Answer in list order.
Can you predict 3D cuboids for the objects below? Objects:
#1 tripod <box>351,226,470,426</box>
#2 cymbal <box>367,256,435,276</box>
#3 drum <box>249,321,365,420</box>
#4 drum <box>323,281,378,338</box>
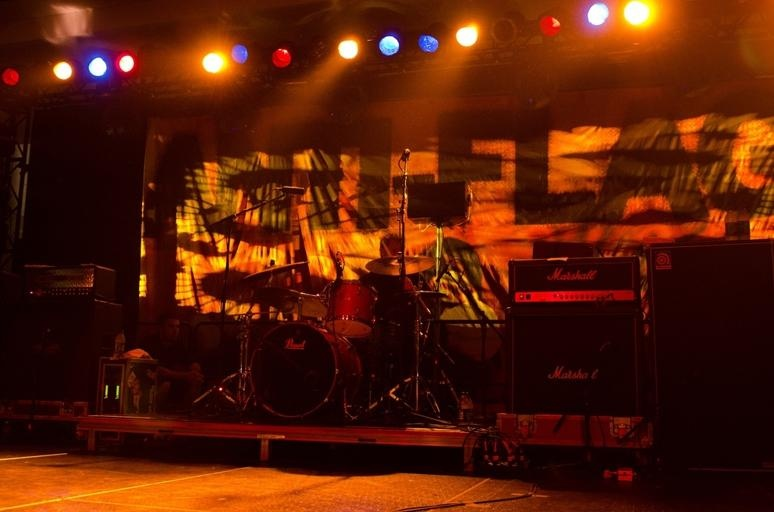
[{"bbox_3d":[0.201,0.887,8.496,1.656,1.943,1.653,0,-2,4],"label":"tripod"},{"bbox_3d":[0.075,0.106,8.092,0.565,0.207,0.747,2,-3,-28],"label":"cymbal"},{"bbox_3d":[-0.834,1.214,8.150,1.250,1.192,0.954,-7,-7,19],"label":"drum"},{"bbox_3d":[-0.399,0.577,8.016,0.569,0.490,0.548,4,-23,-4],"label":"drum"}]
